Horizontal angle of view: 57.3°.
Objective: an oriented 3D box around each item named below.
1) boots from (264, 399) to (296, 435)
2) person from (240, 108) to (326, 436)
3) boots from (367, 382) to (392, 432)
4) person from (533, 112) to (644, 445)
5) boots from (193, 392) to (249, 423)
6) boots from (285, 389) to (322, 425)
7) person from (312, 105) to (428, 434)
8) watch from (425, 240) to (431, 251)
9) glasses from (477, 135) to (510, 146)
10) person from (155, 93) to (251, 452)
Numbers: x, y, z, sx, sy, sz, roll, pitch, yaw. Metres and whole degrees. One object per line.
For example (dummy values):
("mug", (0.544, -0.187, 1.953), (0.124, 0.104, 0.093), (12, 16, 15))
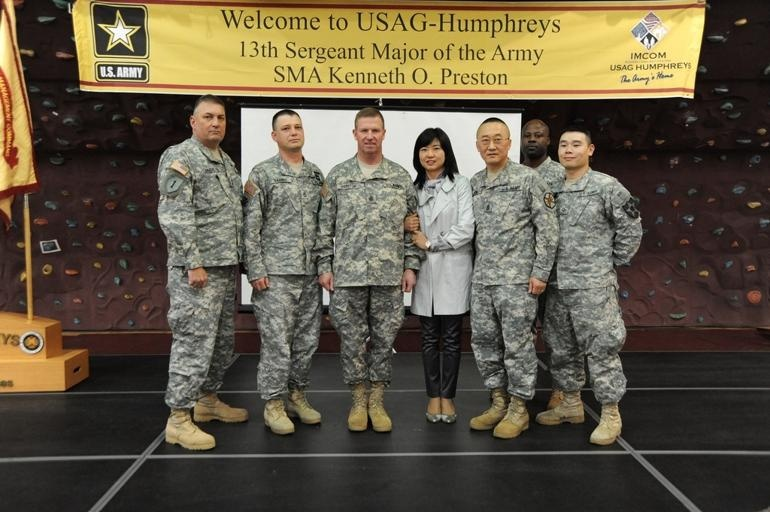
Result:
("boots", (-0.804, 1.192, 5.326), (0.151, 0.193, 0.400), (-7, 13, -29))
("person", (-0.753, -0.006, 5.272), (0.590, 2.111, 0.575), (-1, 16, -5))
("boots", (-0.049, 1.156, 5.466), (0.197, 0.372, 0.457), (-3, 0, -9))
("person", (1.511, 0.199, 5.222), (0.765, 2.237, 0.682), (12, 20, 35))
("boots", (-1.206, 1.186, 5.550), (0.551, 0.271, 0.170), (0, 0, -7))
("boots", (-0.636, 1.151, 5.487), (0.140, 0.241, 0.395), (-13, 14, -41))
("person", (-0.128, 0.102, 5.304), (0.786, 2.370, 0.671), (2, 16, 3))
("watch", (0.320, -0.081, 5.345), (0.061, 0.064, 0.026), (-2, -18, 8))
("glasses", (0.799, -0.859, 5.229), (0.239, 0.068, 0.082), (2, 15, 5))
("person", (-1.333, 0.103, 5.126), (0.634, 2.475, 0.846), (-2, 16, -10))
